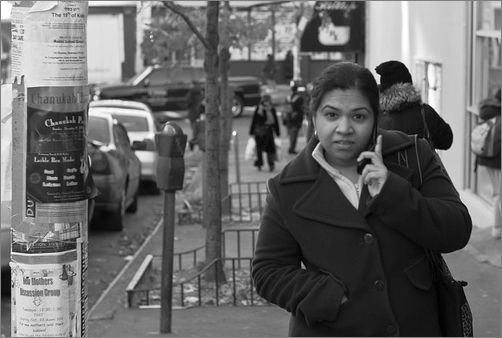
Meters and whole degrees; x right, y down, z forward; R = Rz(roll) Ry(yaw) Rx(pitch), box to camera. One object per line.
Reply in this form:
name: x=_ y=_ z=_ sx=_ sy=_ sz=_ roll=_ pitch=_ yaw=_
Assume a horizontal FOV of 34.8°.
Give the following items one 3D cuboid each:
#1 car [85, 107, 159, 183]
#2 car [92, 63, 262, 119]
car: x=-2.508 y=-0.645 z=17.158 sx=1.164 sy=1.051 sz=2.489 roll=0 pitch=7 yaw=3
car: x=-2.497 y=-2.605 z=27.614 sx=5.488 sy=1.816 sz=2.349 roll=2 pitch=6 yaw=-4
